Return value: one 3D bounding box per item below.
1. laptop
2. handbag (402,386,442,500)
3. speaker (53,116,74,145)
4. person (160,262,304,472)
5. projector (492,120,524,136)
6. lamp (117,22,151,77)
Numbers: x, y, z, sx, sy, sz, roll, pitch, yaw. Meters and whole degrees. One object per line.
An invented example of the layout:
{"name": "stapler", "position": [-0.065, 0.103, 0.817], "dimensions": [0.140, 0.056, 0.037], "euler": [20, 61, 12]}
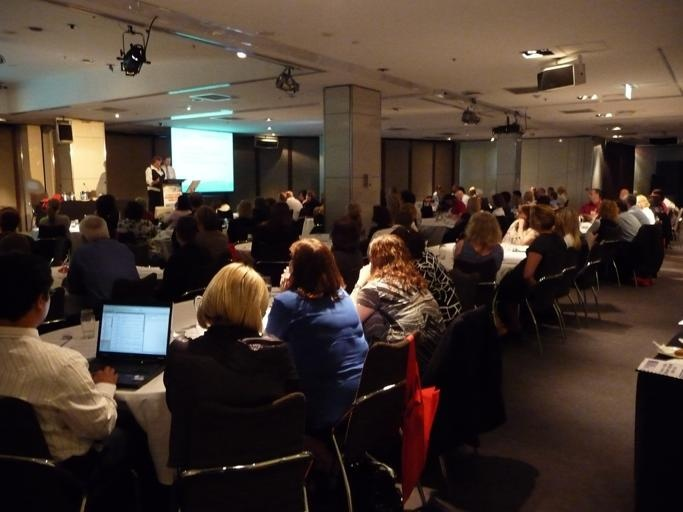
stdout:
{"name": "laptop", "position": [-1.193, 0.476, 2.864], "dimensions": [0.467, 0.461, 0.362], "euler": [2, 11, -1]}
{"name": "handbag", "position": [0.425, 1.044, 2.738], "dimensions": [0.116, 0.636, 0.298], "euler": [13, 17, 35]}
{"name": "speaker", "position": [-7.018, -3.208, 12.420], "dimensions": [0.365, 0.618, 0.595], "euler": [-5, 17, -30]}
{"name": "person", "position": [-0.509, 0.517, 2.275], "dimensions": [0.591, 0.855, 0.495], "euler": [-1, 15, -16]}
{"name": "projector", "position": [4.431, -3.464, 13.092], "dimensions": [0.687, 0.311, 0.731], "euler": [0, 6, 9]}
{"name": "lamp", "position": [-2.538, -2.540, 5.962], "dimensions": [0.323, 0.577, 0.294], "euler": [0, 1, -34]}
